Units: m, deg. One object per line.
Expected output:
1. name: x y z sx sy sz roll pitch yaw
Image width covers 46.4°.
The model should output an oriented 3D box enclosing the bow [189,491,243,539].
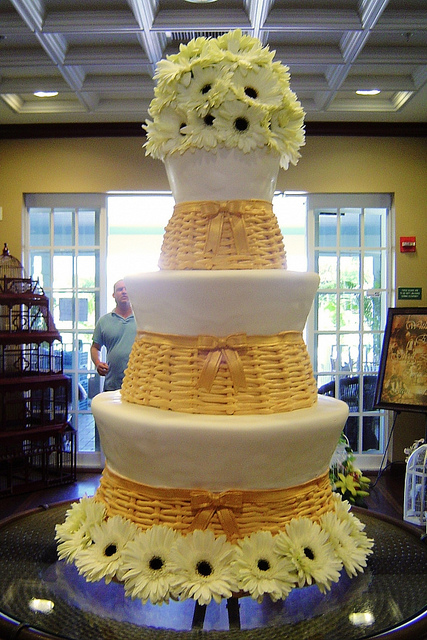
1. bow: 0.005 0.250 0.633 0.058 0.056 0.008 1 -19 3

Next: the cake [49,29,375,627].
1. cake: 0.021 -0.033 0.821 0.496 0.772 0.496 -4 5 -44

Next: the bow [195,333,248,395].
1. bow: 0.011 0.064 0.689 0.085 0.091 0.016 1 -6 1

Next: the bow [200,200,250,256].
1. bow: 0.017 -0.138 0.761 0.089 0.096 0.017 0 -9 -5
